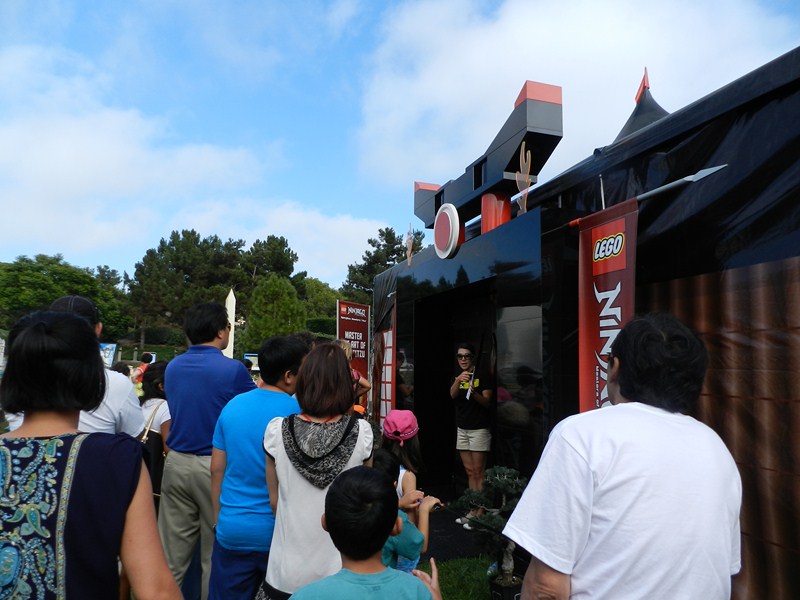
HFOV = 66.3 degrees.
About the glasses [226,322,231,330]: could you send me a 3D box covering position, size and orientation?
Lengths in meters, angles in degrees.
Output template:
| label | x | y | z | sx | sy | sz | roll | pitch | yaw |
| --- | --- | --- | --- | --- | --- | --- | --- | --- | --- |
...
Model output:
| label | x | y | z | sx | sy | sz | roll | pitch | yaw |
| --- | --- | --- | --- | --- | --- | --- | --- | --- | --- |
| glasses | -1.247 | 0.189 | 4.477 | 0.025 | 0.051 | 0.029 | -20 | -42 | 1 |
